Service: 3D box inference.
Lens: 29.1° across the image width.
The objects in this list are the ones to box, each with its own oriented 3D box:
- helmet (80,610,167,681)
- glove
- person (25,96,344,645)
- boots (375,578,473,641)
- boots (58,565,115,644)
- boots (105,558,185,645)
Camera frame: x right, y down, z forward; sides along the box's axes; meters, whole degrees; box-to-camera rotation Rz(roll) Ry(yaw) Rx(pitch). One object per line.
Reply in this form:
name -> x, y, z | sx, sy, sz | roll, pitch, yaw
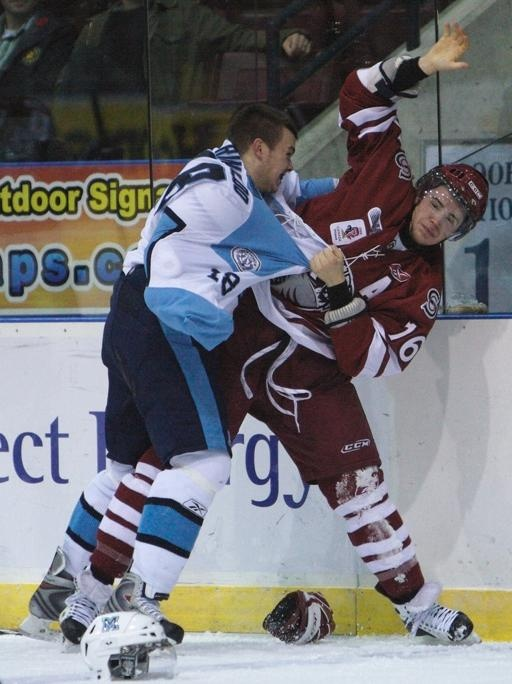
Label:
helmet -> -0.293, 0.712, 2.358 | 0.211, 0.155, 0.140 | -13, -7, -9
glove -> 0.119, 0.770, 2.839 | 0.202, 0.146, 0.137 | -13, 36, -26
person -> -0.155, 0.044, 2.628 | 0.462, 1.367, 0.627 | 6, -5, -23
boots -> 0.524, 0.733, 2.782 | 0.095, 0.196, 0.287 | -51, 18, -30
boots -> -0.436, 0.701, 2.735 | 0.100, 0.120, 0.279 | 38, 16, -14
boots -> -0.257, 0.633, 2.363 | 0.082, 0.141, 0.244 | 26, -18, -40
